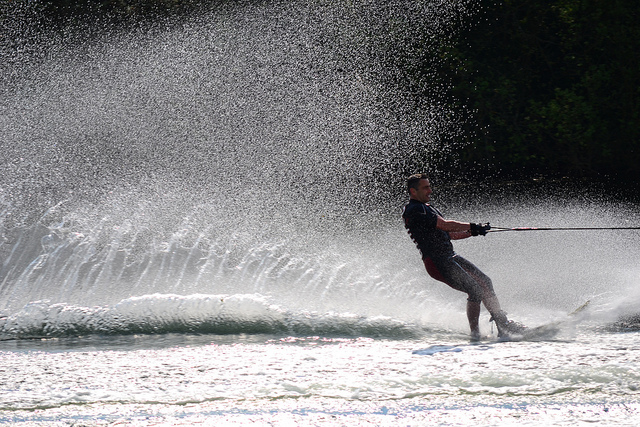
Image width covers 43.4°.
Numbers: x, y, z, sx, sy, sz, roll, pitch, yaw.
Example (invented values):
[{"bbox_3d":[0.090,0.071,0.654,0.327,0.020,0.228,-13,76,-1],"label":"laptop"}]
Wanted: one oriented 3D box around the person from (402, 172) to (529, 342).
[{"bbox_3d":[1.539,0.485,8.945,1.144,1.890,0.653,13,-25,-35],"label":"person"}]
